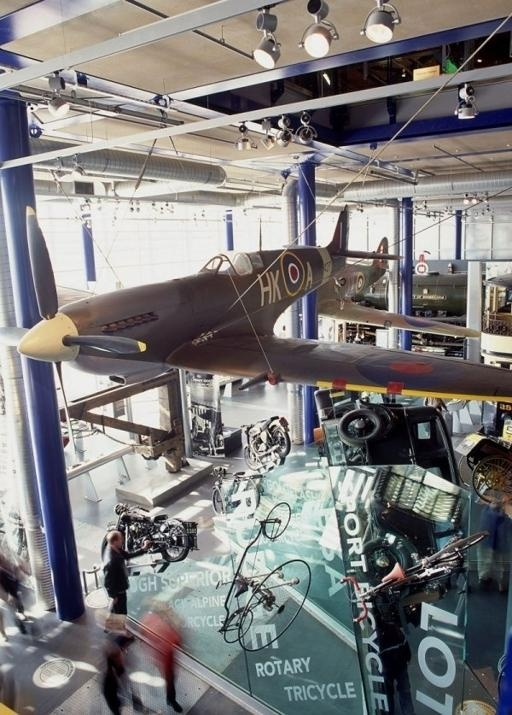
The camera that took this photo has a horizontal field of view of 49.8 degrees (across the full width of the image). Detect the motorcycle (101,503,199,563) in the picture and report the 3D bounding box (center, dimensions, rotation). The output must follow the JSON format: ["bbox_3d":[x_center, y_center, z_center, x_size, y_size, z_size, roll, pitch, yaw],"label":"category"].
[{"bbox_3d":[-1.173,1.894,6.093,1.298,0.600,0.383,-6,-12,22],"label":"motorcycle"}]

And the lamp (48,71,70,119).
[{"bbox_3d":[-1.521,-2.020,4.227,0.121,0.230,0.111,9,17,21],"label":"lamp"}]

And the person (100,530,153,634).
[{"bbox_3d":[-1.342,2.189,5.311,0.229,0.998,0.296,-7,10,-20],"label":"person"}]
